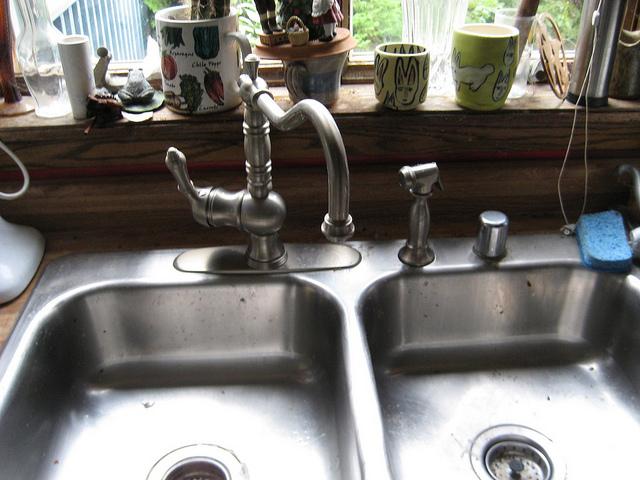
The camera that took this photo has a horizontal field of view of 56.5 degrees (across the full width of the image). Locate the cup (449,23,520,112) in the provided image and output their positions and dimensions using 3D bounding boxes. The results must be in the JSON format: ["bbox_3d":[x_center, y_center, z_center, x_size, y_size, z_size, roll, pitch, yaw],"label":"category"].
[{"bbox_3d":[0.331,-0.345,1.203,0.150,0.171,0.158,-2,33,1],"label":"cup"}]

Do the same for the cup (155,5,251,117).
[{"bbox_3d":[-0.216,-0.375,1.255,0.232,0.181,0.159,7,38,11],"label":"cup"}]

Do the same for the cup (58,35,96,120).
[{"bbox_3d":[-0.480,-0.313,1.190,0.057,0.150,0.055,0,31,0],"label":"cup"}]

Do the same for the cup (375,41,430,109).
[{"bbox_3d":[0.158,-0.332,1.280,0.122,0.136,0.128,-2,33,1],"label":"cup"}]
